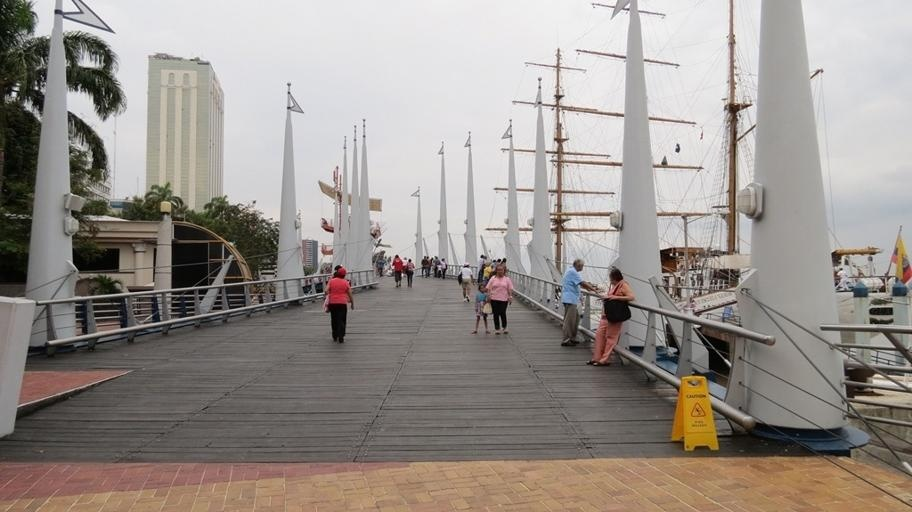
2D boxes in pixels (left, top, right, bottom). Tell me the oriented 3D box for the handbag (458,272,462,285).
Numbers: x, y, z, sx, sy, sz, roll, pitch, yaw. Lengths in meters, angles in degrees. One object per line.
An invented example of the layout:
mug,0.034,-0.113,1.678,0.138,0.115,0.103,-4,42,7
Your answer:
handbag,0.230,1.425,42.085,0.350,0.900,0.250,4,-17,-7
